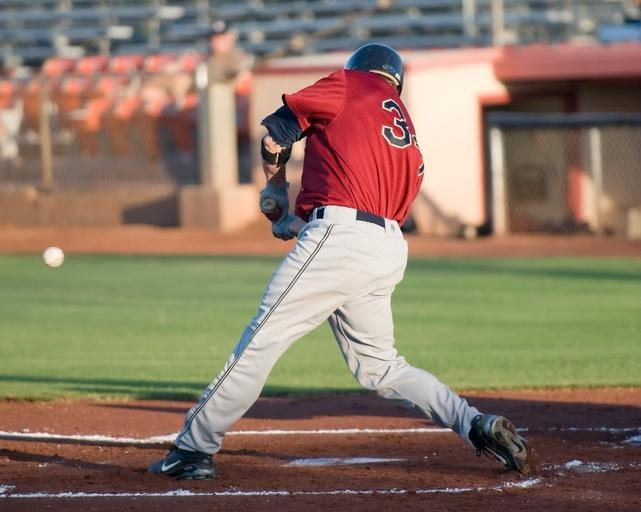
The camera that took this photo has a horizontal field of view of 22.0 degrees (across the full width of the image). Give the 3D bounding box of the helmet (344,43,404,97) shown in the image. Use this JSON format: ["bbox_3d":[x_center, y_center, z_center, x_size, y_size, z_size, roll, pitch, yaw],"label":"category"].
[{"bbox_3d":[0.601,-1.862,16.084,0.602,0.441,0.439,-13,26,-29],"label":"helmet"}]
